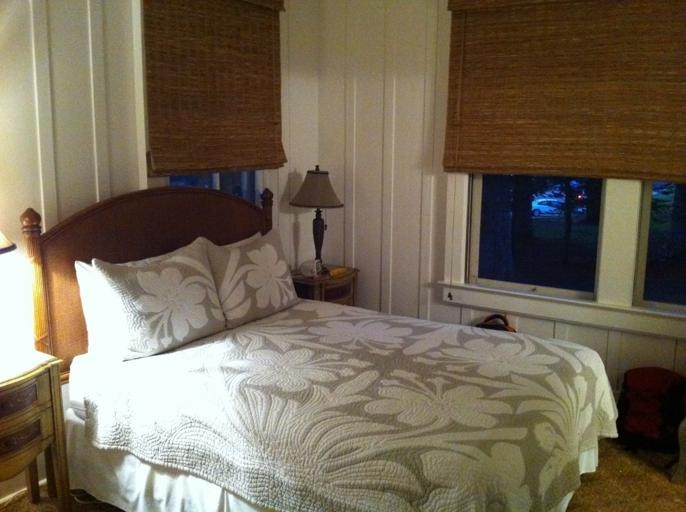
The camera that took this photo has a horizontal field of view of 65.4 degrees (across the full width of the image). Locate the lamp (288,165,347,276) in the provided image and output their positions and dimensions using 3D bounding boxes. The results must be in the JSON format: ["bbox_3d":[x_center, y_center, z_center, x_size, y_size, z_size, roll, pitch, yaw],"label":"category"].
[{"bbox_3d":[-0.210,-0.321,4.452,0.453,0.869,0.436,0,12,-1],"label":"lamp"}]
